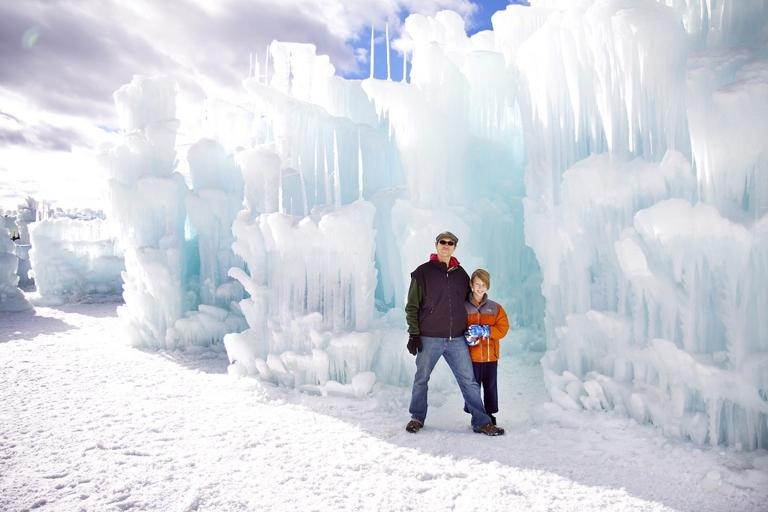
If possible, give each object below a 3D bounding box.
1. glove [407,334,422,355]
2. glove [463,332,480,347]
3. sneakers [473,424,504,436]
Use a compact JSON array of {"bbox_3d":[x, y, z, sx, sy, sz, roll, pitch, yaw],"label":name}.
[{"bbox_3d":[0.463,1.347,9.495,0.214,0.286,0.101,2,-9,-12],"label":"glove"},{"bbox_3d":[1.346,1.278,9.679,0.205,0.182,0.162,-10,-15,41],"label":"glove"},{"bbox_3d":[1.610,2.679,9.714,0.416,0.189,0.171,-2,0,12],"label":"sneakers"}]
